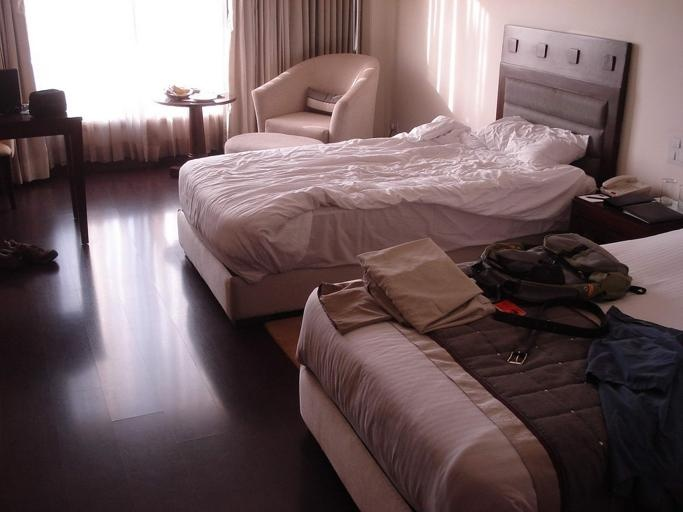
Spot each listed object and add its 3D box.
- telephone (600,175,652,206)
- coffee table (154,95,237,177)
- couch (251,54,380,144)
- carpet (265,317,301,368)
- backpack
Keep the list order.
[{"bbox_3d":[1.918,-0.424,3.417,0.268,0.157,0.284,-12,29,-12],"label":"telephone"},{"bbox_3d":[-1.542,-1.273,5.422,0.705,0.740,0.723,1,18,-3],"label":"coffee table"},{"bbox_3d":[-0.350,-1.441,5.520,1.004,1.045,1.026,-15,32,-42],"label":"couch"},{"bbox_3d":[-0.302,0.495,3.044,0.189,0.391,0.031,0,39,18],"label":"carpet"},{"bbox_3d":[0.901,0.072,2.200,0.443,0.134,0.390,-7,21,-6],"label":"backpack"}]
